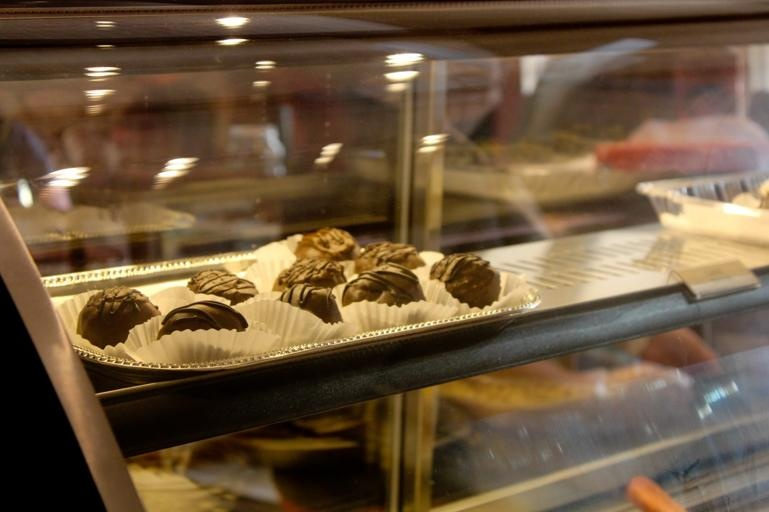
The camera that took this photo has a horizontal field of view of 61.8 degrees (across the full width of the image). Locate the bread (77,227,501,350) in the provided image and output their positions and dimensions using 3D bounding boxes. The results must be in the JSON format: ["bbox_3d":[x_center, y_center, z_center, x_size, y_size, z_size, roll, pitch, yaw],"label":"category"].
[{"bbox_3d":[-0.154,0.061,1.105,0.686,0.125,0.260,-13,22,-20],"label":"bread"}]
